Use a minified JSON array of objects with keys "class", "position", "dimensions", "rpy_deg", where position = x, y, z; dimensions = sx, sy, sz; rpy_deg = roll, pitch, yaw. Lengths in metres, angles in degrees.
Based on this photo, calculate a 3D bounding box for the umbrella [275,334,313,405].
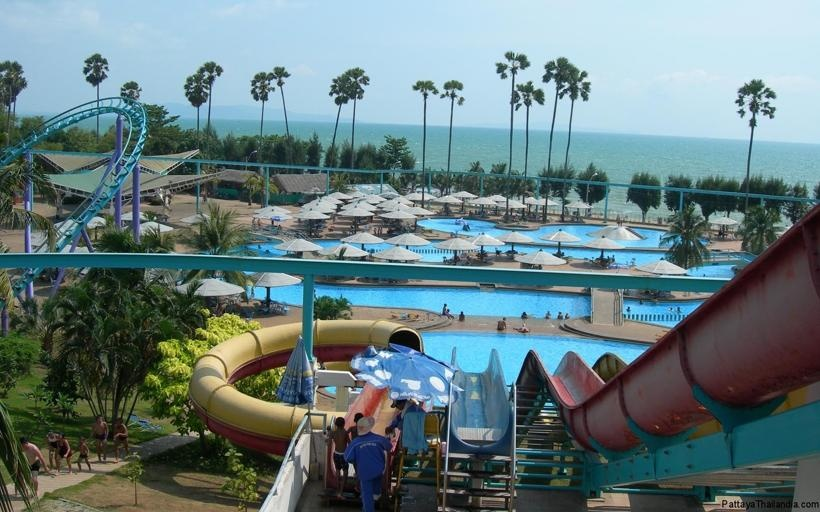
[{"class":"umbrella","position":[-2.477,2.548,16.337],"dimensions":[0.799,1.652,0.668],"rpy_deg":[0,6,-9]}]

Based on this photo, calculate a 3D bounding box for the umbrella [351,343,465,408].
[{"class":"umbrella","position":[-0.111,2.394,14.792],"dimensions":[1.866,0.984,1.125],"rpy_deg":[1,6,4]}]
